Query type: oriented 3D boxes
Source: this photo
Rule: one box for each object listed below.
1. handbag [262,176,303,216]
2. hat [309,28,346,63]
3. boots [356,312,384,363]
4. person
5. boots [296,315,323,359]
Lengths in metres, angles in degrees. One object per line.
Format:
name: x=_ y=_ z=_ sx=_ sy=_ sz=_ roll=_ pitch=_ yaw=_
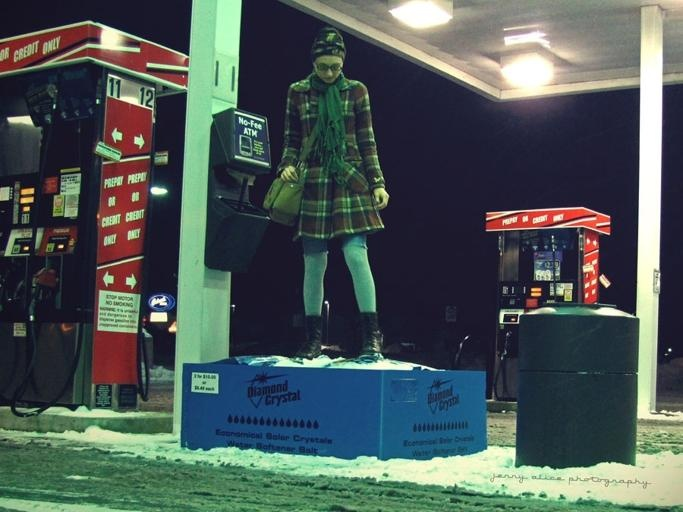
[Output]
handbag: x=-0.430 y=-0.439 z=5.398 sx=0.299 sy=0.289 sz=0.180 roll=0 pitch=1 yaw=7
hat: x=-0.100 y=-1.615 z=5.485 sx=0.245 sy=0.254 sz=0.257 roll=0 pitch=1 yaw=-28
boots: x=0.206 y=0.571 z=5.179 sx=0.153 sy=0.337 sz=0.476 roll=-3 pitch=8 yaw=10
person: x=-0.085 y=-0.518 z=5.373 sx=0.822 sy=2.483 sz=0.681 roll=0 pitch=1 yaw=9
boots: x=-0.228 y=0.607 z=5.266 sx=0.149 sy=0.304 sz=0.312 roll=5 pitch=12 yaw=29
